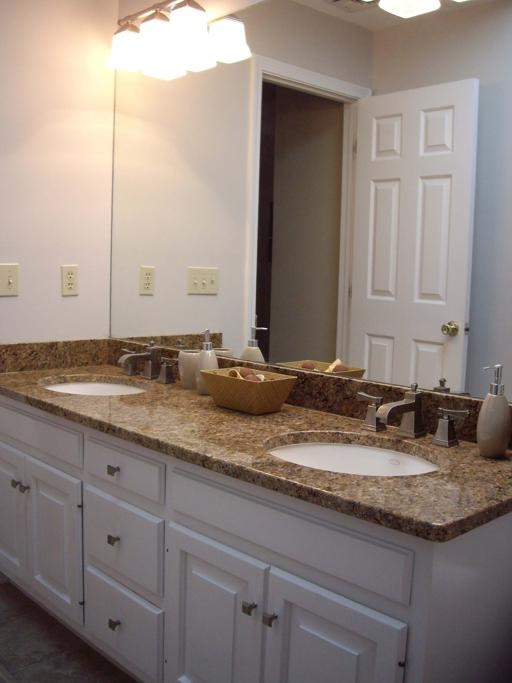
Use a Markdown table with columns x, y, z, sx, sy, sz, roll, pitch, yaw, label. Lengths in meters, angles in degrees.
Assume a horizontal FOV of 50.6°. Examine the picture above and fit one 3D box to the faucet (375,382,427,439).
| x | y | z | sx | sy | sz | roll | pitch | yaw | label |
| --- | --- | --- | --- | --- | --- | --- | --- | --- | --- |
| 0.321 | 0.161 | 1.201 | 0.136 | 0.123 | 0.047 | -6 | 8 | -39 | faucet |
